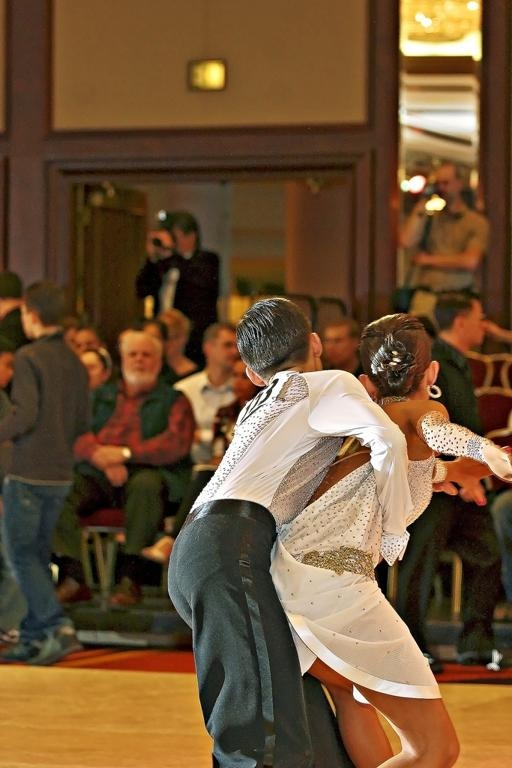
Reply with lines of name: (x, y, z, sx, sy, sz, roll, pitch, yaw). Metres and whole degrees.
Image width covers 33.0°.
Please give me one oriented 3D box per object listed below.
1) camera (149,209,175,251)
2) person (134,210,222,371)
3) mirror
camera: (-0.398, -0.670, 3.756, 0.053, 0.146, 0.165, 1, -4, 23)
person: (-0.370, -0.372, 4.432, 0.348, 0.934, 0.323, -8, 17, -29)
mirror: (0.912, -0.858, 4.265, 0.478, 1.524, 0.120, -3, 43, 9)
